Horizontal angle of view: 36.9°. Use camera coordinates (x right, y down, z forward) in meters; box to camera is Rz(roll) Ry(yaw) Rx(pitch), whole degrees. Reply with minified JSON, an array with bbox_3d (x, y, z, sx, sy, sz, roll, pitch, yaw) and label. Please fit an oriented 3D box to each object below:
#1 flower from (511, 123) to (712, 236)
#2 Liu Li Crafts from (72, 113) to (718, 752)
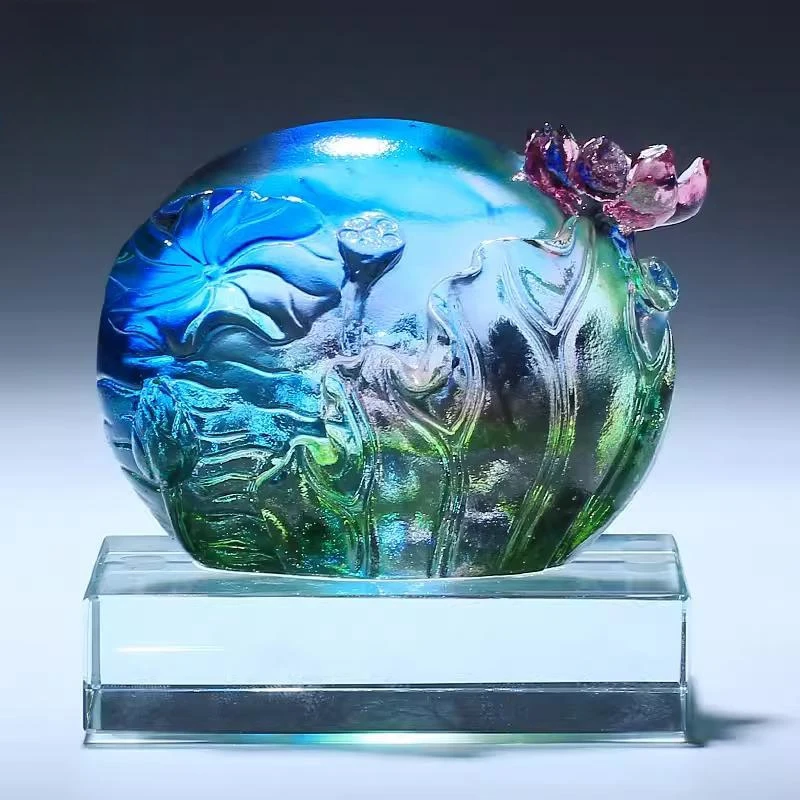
[{"bbox_3d":[0.215,-0.228,1.162,0.127,0.039,0.092,0,34,-22],"label":"flower"},{"bbox_3d":[-0.010,0.034,1.183,0.617,0.609,0.208,-1,15,-1],"label":"Liu Li Crafts"}]
